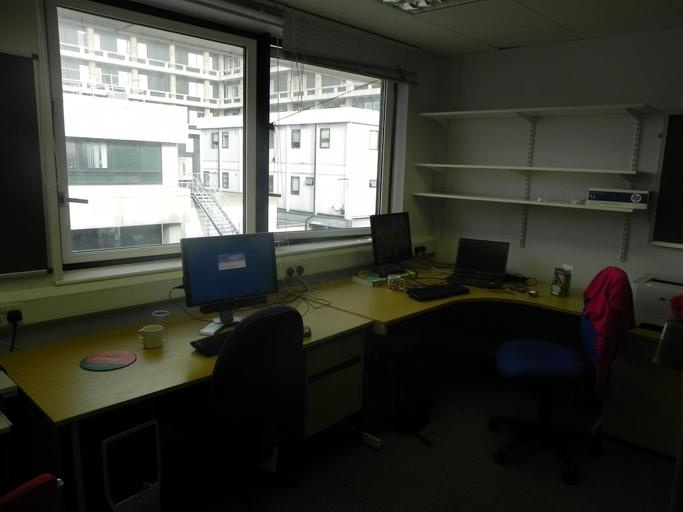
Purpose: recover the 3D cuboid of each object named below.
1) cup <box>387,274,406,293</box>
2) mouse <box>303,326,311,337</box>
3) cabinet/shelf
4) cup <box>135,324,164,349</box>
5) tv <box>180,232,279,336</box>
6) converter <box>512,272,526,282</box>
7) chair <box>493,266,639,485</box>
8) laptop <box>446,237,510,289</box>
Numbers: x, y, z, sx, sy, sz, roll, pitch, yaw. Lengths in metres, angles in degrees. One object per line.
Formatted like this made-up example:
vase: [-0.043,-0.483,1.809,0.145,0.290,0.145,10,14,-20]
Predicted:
cup: [0.427,0.208,4.019,0.140,0.102,0.096,1,6,11]
mouse: [-0.200,0.439,3.111,0.062,0.039,0.063,-2,16,-5]
cabinet/shelf: [1.471,-0.613,4.246,1.730,1.134,0.374,11,19,38]
cup: [-1.067,0.450,2.983,0.146,0.112,0.113,3,11,8]
tv: [-0.686,0.170,3.164,0.559,0.562,0.250,-5,3,-40]
converter: [1.442,0.170,4.285,0.065,0.038,0.114,-2,11,8]
chair: [1.543,0.839,3.561,0.977,1.513,1.017,1,12,13]
laptop: [1.114,0.051,4.216,0.446,0.398,0.339,11,17,22]
